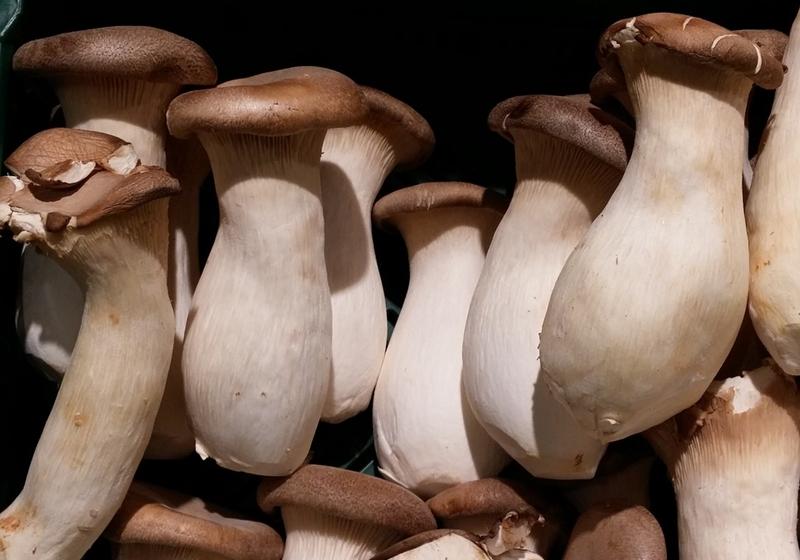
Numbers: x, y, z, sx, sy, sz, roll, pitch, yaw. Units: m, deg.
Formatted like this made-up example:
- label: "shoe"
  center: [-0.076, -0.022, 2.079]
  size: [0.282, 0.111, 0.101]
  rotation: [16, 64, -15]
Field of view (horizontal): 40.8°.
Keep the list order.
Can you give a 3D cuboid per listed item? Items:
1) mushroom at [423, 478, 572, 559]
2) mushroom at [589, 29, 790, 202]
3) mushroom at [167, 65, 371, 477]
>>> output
- label: "mushroom"
  center: [0.196, 0.386, 1.900]
  size: [0.171, 0.058, 0.180]
  rotation: [33, -7, -11]
- label: "mushroom"
  center: [0.472, -0.267, 1.974]
  size: [0.339, 0.346, 0.307]
  rotation: [-8, 4, -22]
- label: "mushroom"
  center: [-0.244, -0.010, 1.904]
  size: [0.327, 0.653, 0.391]
  rotation: [5, 29, 12]
